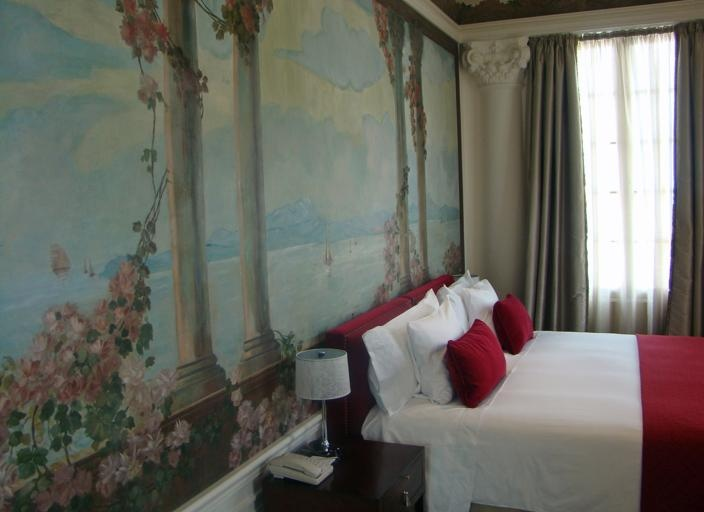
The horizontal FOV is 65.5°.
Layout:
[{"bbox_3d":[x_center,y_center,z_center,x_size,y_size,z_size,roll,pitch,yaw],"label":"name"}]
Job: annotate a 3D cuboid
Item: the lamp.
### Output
[{"bbox_3d":[-0.152,0.757,2.847,0.262,0.538,0.278,-5,9,-17],"label":"lamp"}]
